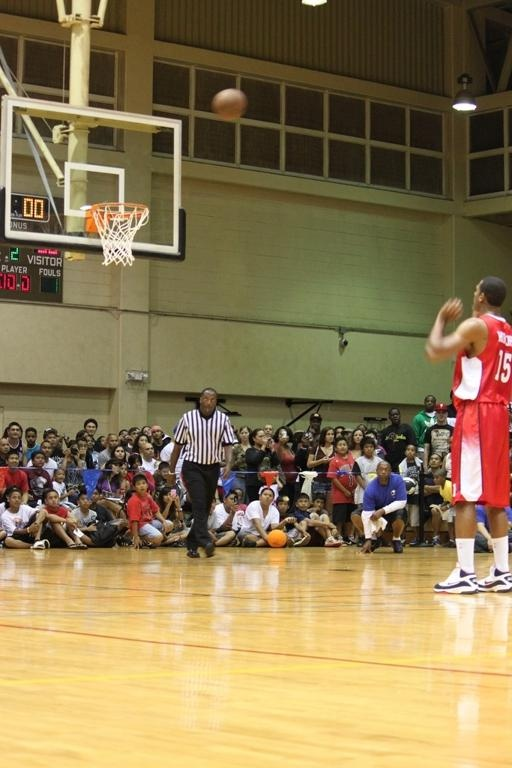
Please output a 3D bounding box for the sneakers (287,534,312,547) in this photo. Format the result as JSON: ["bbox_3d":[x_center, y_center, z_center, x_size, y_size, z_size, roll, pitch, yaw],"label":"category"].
[{"bbox_3d":[0.628,2.189,10.824,0.396,0.170,0.125,8,-15,-11],"label":"sneakers"}]

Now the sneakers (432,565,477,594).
[{"bbox_3d":[1.207,1.173,4.612,0.222,0.154,0.348,-1,-4,30],"label":"sneakers"}]

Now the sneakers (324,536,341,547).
[{"bbox_3d":[1.104,2.260,11.065,0.107,0.114,0.256,3,-9,-32],"label":"sneakers"}]

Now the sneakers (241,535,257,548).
[{"bbox_3d":[-0.087,2.136,10.535,0.191,0.161,0.149,-6,-5,-5],"label":"sneakers"}]

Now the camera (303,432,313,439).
[{"bbox_3d":[0.858,0.823,12.498,0.097,0.054,0.109,26,-17,31],"label":"camera"}]

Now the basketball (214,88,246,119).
[{"bbox_3d":[-0.295,-3.447,9.663,0.418,0.399,0.300,6,-35,15],"label":"basketball"}]

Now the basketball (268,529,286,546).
[{"bbox_3d":[0.293,2.104,10.554,0.260,0.259,0.309,1,-4,8],"label":"basketball"}]

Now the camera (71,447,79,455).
[{"bbox_3d":[-2.462,0.912,10.533,0.090,0.080,0.094,4,-2,-10],"label":"camera"}]

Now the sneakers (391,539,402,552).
[{"bbox_3d":[1.853,2.108,10.110,0.172,0.189,0.495,-1,-11,6],"label":"sneakers"}]

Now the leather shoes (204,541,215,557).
[{"bbox_3d":[-0.453,1.699,7.884,0.074,0.089,0.194,-26,-40,-16],"label":"leather shoes"}]
